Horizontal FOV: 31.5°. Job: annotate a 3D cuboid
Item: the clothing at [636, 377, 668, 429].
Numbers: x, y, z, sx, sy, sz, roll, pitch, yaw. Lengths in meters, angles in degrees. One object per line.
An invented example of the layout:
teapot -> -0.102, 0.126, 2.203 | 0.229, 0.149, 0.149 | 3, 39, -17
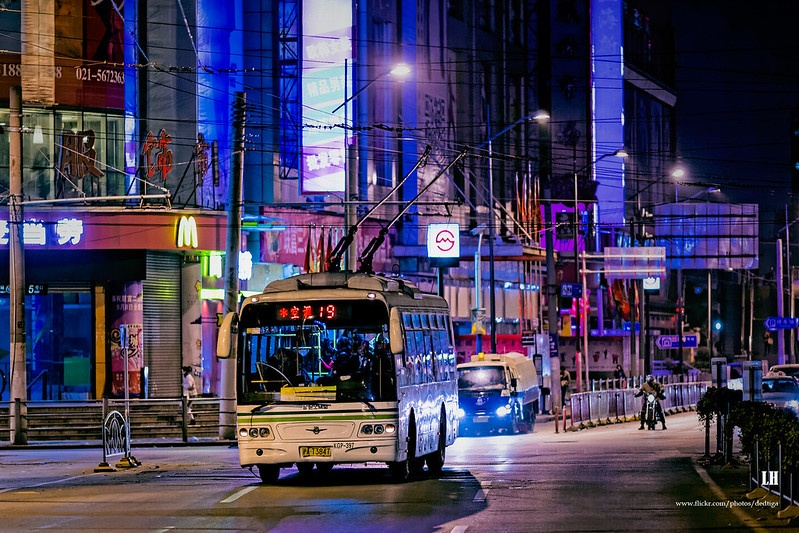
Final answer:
clothing -> 10.438, 5.560, 58.588 | 1.258, 1.427, 2.500 | -2, -9, 7

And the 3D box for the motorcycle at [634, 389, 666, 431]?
motorcycle -> 10.295, 5.855, 58.235 | 1.110, 1.183, 2.081 | -2, -9, 7

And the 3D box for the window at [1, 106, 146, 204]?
window -> -15.084, -4.914, 63.979 | 5.752, 3.722, 0.277 | -1, -11, -7

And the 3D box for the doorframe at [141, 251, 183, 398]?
doorframe -> -10.998, 2.689, 65.195 | 0.722, 6.663, 2.584 | -5, -8, 19

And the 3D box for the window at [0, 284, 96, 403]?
window -> -15.631, 3.578, 62.451 | 4.975, 4.593, 2.765 | -2, -11, -4

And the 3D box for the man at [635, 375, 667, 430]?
man -> 10.280, 5.737, 58.299 | 1.379, 1.580, 2.784 | 3, 3, 7

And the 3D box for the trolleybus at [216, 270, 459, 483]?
trolleybus -> -1.287, 3.082, 39.859 | 4.075, 5.936, 6.966 | -10, -10, 44
